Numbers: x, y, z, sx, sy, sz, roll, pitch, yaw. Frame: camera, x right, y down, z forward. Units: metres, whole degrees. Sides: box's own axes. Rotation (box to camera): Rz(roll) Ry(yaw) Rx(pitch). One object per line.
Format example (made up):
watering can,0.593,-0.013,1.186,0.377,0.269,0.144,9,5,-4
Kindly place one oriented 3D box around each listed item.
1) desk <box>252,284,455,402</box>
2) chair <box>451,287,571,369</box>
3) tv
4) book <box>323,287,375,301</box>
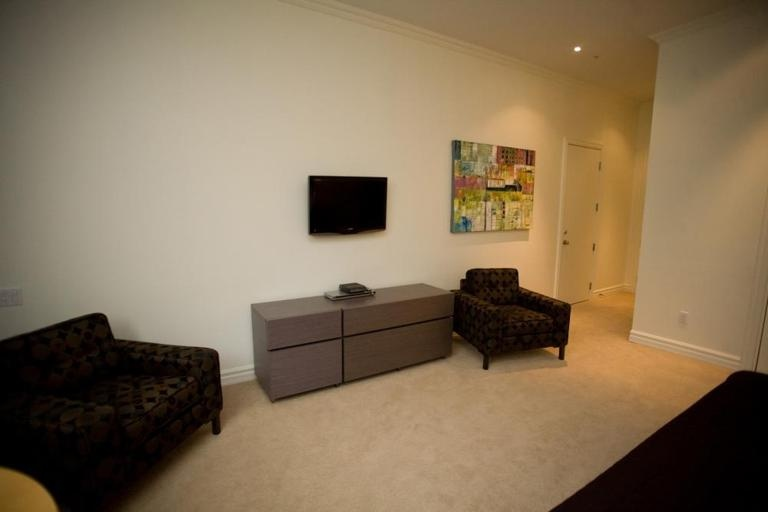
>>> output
desk,-0.251,0.798,5.321,2.061,0.805,0.607,-6,11,-28
chair,1.406,0.740,5.343,0.888,0.589,0.856,-3,6,-22
tv,-0.405,-0.543,5.218,0.579,0.425,0.079,-3,12,-23
book,-0.370,0.381,5.198,0.276,0.066,0.224,-4,6,-30
